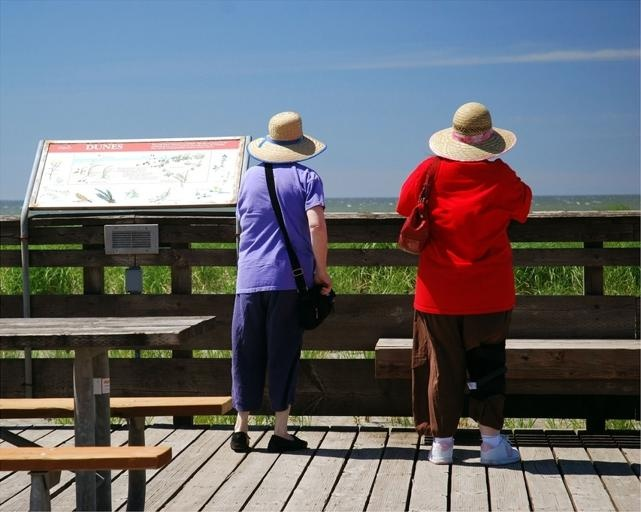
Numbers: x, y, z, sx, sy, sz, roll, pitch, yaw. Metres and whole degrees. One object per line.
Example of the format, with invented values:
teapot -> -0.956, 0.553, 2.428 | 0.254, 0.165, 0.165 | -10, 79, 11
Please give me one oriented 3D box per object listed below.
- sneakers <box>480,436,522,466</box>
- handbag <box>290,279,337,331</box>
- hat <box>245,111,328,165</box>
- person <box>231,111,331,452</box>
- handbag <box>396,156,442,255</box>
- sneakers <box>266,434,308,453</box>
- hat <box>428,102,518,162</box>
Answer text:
sneakers -> 1.169, 1.257, 6.051 | 0.278, 0.154, 0.151 | -1, 1, -18
handbag -> -0.051, 0.319, 6.222 | 0.181, 0.257, 0.395 | 1, 13, 32
hat -> -0.213, -0.774, 6.440 | 0.474, 0.214, 0.459 | -2, 20, 8
person -> -0.296, 0.180, 6.304 | 0.751, 2.220, 0.522 | -4, 12, -6
handbag -> 0.648, -0.317, 5.968 | 0.264, 0.600, 0.154 | -12, 15, -38
sneakers -> -0.220, 1.267, 6.344 | 0.300, 0.106, 0.104 | 0, 0, -15
hat -> 1.008, -0.778, 5.997 | 0.477, 0.198, 0.455 | 7, 27, 21
